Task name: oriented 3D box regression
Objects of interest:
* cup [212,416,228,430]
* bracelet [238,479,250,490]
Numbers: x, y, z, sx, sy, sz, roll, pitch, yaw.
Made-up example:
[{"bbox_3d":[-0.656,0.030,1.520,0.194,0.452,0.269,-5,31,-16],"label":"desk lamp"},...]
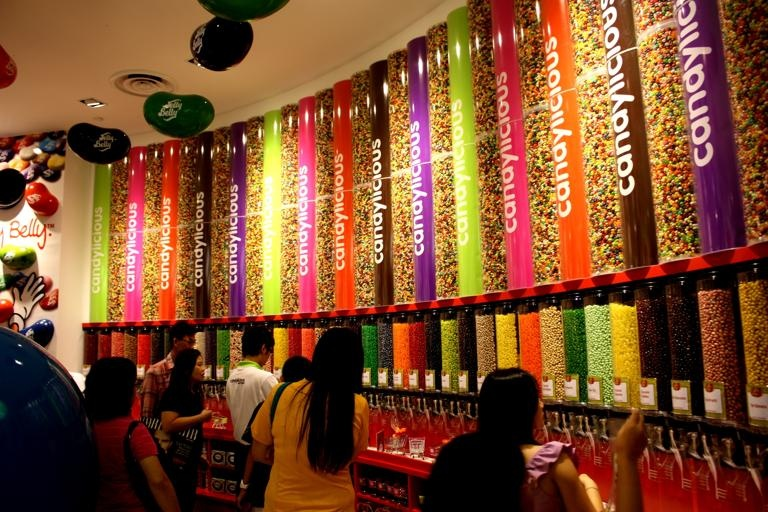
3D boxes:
[{"bbox_3d":[-1.575,1.605,5.244,0.097,0.069,0.098,0,-4,0],"label":"cup"},{"bbox_3d":[-0.893,1.443,3.445,0.050,0.047,0.069,4,-6,-12],"label":"bracelet"}]
